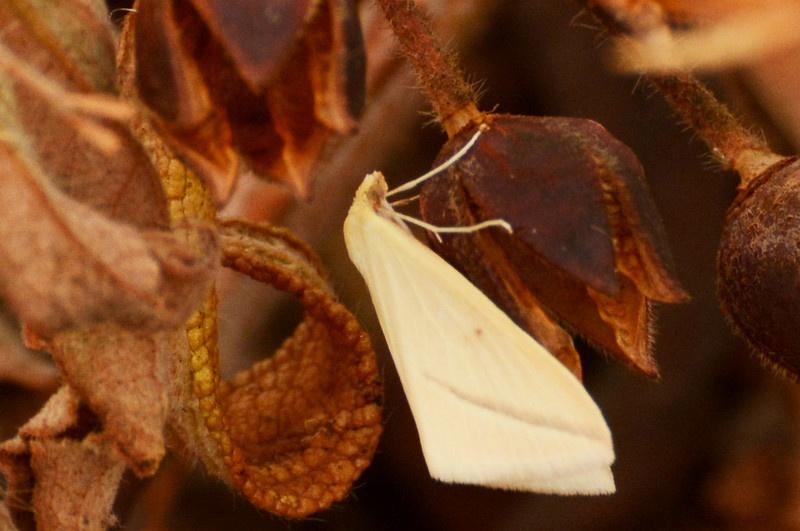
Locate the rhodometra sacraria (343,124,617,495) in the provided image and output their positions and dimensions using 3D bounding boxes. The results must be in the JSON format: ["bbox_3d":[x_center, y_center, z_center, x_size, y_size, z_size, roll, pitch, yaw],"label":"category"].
[{"bbox_3d":[0.117,0.028,1.175,0.128,0.239,0.311,-43,107,-41],"label":"rhodometra sacraria"}]
